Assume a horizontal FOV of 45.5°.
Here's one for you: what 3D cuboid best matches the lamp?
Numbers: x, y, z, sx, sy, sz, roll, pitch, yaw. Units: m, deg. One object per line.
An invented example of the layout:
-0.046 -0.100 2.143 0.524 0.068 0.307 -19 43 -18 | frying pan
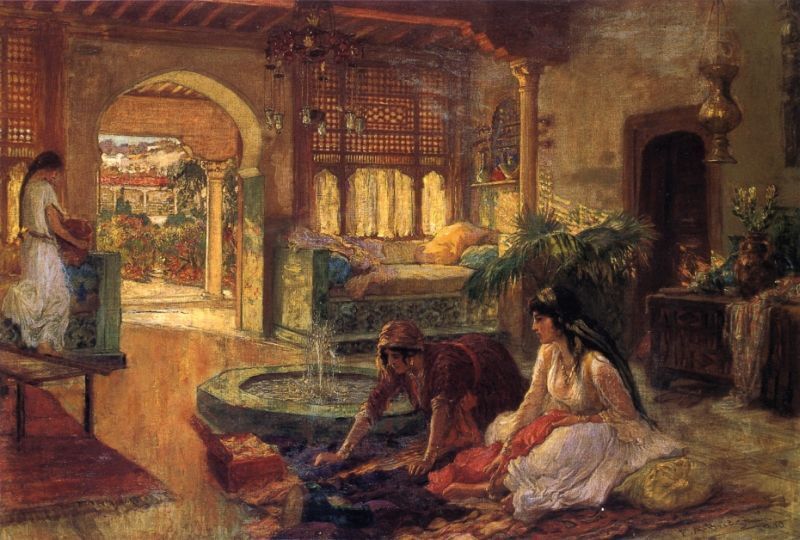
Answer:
-0.942 -2.287 11.020 1.246 1.399 3.107 -1 0 -8 | lamp
